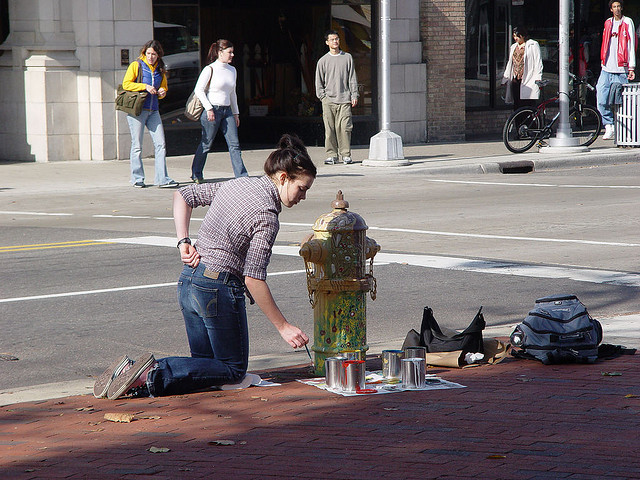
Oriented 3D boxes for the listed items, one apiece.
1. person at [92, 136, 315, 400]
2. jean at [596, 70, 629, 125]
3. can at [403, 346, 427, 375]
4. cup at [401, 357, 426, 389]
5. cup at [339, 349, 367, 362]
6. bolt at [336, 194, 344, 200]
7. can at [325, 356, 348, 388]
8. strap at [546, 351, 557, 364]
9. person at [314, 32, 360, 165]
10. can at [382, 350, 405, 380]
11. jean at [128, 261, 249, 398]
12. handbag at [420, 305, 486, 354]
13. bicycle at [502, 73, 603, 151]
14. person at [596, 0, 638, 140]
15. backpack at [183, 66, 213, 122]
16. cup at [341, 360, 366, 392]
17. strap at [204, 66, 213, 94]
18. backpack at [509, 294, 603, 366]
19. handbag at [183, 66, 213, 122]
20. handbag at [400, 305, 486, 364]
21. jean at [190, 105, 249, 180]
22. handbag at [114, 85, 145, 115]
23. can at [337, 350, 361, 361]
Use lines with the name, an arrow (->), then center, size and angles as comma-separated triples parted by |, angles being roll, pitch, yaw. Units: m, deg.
person -> -0.849, 0.215, 10.667 | 1.619, 2.030, 0.624 | -1, 6, -1
jean -> 5.801, -2.819, 26.978 | 0.468, 1.109, 0.570 | 7, 18, 13
can -> 0.795, 0.992, 11.110 | 0.218, 0.237, 0.222 | 0, 1, 42
cup -> 0.744, 1.075, 10.876 | 0.234, 0.234, 0.225 | -1, 1, 0
cup -> 0.275, 0.941, 10.997 | 0.129, 0.088, 0.125 | 0, -1, 0
bolt -> 0.153, -0.344, 11.144 | 0.064, 0.050, 0.062 | 1, 7, 5
can -> 0.134, 1.091, 10.932 | 0.210, 0.217, 0.203 | 3, -7, -3
strap -> 1.942, 0.994, 11.364 | 0.066, 0.111, 0.062 | -21, 12, 19
person -> 0.275, -2.485, 23.908 | 0.717, 2.339, 0.818 | -2, 6, -5
can -> 0.588, 1.034, 11.147 | 0.201, 0.211, 0.197 | 1, 0, 23
jean -> -0.996, 0.705, 10.773 | 0.819, 1.059, 0.316 | -2, 6, -7
handbag -> 1.116, 0.778, 11.564 | 0.575, 0.419, 0.268 | 3, -1, 22
bicycle -> 4.543, -2.407, 26.024 | 2.599, 1.432, 1.176 | -6, 18, -36
person -> 5.849, -3.380, 26.873 | 0.666, 2.760, 1.372 | -2, 6, -4
backpack -> -1.973, -2.312, 21.357 | 0.388, 0.839, 0.837 | -3, 7, -15
cup -> 0.261, 1.097, 10.801 | 0.238, 0.225, 0.231 | -1, -1, 0
strap -> -1.765, -2.461, 21.003 | 0.076, 0.296, 0.227 | 5, 14, 7
backpack -> 2.085, 0.736, 11.905 | 0.857, 0.467, 1.170 | -5, 3, 12
handbag -> -1.981, -2.261, 21.313 | 0.409, 0.820, 0.386 | 14, 19, 33
handbag -> 1.145, 0.774, 11.602 | 0.567, 0.358, 0.393 | 1, 5, 14
jean -> -1.610, -1.625, 21.331 | 1.279, 1.483, 0.459 | 5, 16, 25
handbag -> -3.140, -2.242, 21.630 | 0.378, 0.469, 0.938 | -4, 7, -23
can -> 0.232, 0.947, 10.989 | 0.114, 0.079, 0.088 | 0, 3, 10
